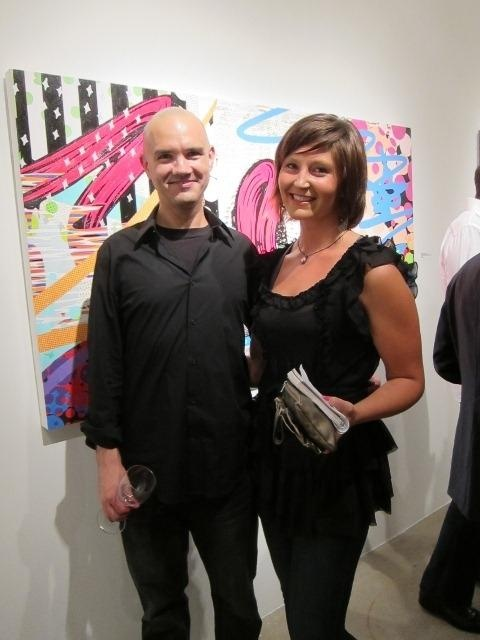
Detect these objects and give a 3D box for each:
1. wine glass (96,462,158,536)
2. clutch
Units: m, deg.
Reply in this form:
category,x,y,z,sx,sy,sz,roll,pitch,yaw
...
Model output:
category,x,y,z,sx,sy,sz,roll,pitch,yaw
wine glass,-0.282,0.445,1.167,0.146,0.166,0.096,-4,13,-20
clutch,0.139,0.189,0.948,0.149,0.049,0.158,34,2,-12
